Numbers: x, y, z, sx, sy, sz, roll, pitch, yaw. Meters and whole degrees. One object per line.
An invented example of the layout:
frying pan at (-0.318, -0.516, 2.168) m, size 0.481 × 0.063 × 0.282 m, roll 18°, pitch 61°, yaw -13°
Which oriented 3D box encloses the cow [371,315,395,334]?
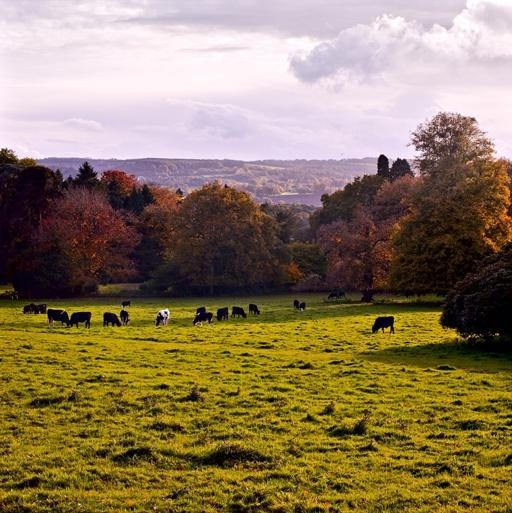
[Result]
cow at (6.912, 3.604, 63.209) m, size 1.229 × 1.137 × 2.159 m, roll 2°, pitch 12°, yaw 6°
